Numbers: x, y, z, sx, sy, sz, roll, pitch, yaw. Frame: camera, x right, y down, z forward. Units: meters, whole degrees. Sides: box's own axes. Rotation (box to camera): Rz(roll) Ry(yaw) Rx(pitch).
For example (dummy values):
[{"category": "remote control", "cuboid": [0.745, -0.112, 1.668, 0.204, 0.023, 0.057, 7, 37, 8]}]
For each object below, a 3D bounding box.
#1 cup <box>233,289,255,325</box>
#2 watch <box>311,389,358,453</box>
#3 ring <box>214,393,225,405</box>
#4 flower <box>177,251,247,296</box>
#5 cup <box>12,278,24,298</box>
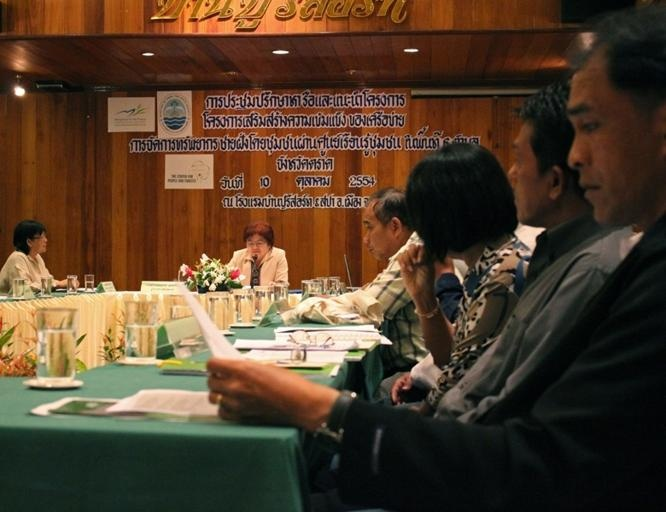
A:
[{"category": "cup", "cuboid": [-0.401, 0.229, 2.978, 0.122, 0.190, 0.131, 0, 2, 0]}, {"category": "watch", "cuboid": [-0.004, 0.295, 1.143, 0.034, 0.102, 0.071, 26, 8, 23]}, {"category": "ring", "cuboid": [-0.216, 0.272, 1.250, 0.015, 0.018, 0.017, -1, 12, 0]}, {"category": "flower", "cuboid": [-0.968, 0.166, 5.412, 0.386, 0.277, 0.461, 7, -2, -15]}, {"category": "cup", "cuboid": [-2.501, 0.262, 5.207, 0.101, 0.184, 0.104, 1, -6, 0]}]
